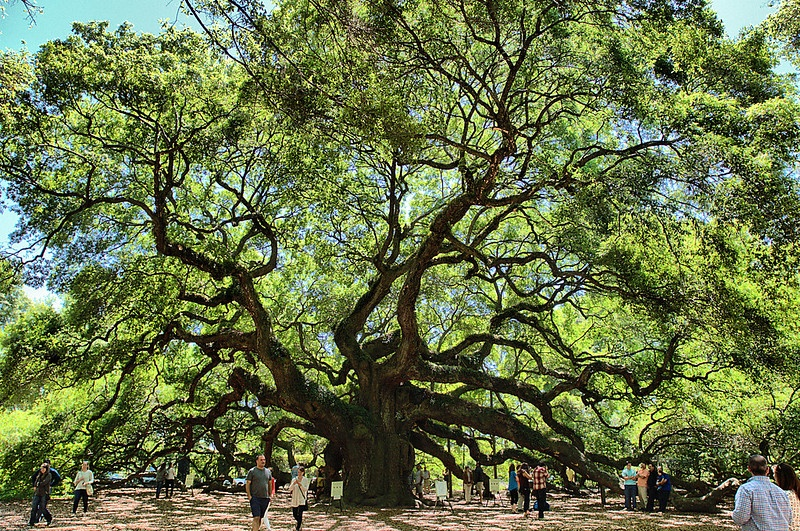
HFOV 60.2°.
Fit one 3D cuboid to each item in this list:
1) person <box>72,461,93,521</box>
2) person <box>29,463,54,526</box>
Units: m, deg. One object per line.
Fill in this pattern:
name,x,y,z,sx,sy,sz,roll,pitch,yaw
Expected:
person,-10.434,7.320,22.771,0.570,1.605,1.759,11,-25,-22
person,-10.894,6.976,21.190,0.727,1.908,1.345,13,-25,-25
